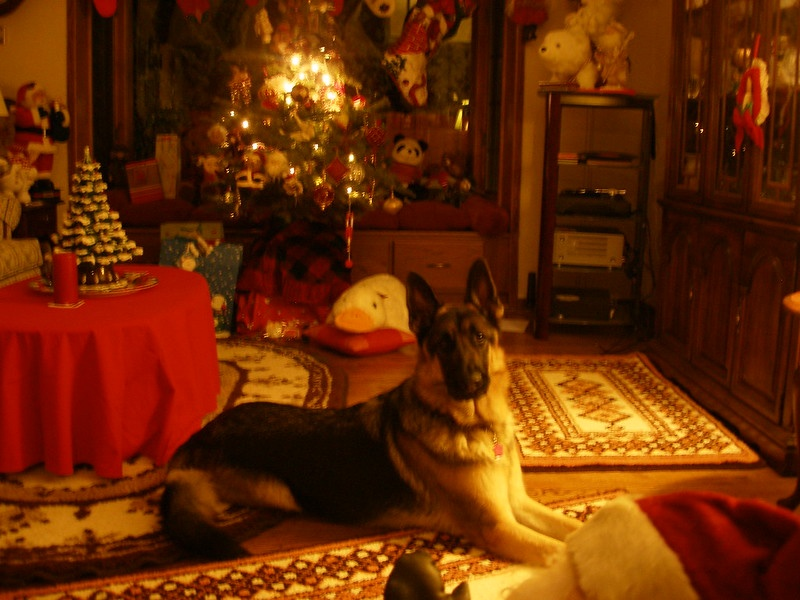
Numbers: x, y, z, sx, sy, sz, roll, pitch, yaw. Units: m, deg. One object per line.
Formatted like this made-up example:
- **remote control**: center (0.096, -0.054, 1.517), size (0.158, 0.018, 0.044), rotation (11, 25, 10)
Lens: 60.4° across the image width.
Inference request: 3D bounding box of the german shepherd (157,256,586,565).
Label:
- **german shepherd**: center (-0.164, 0.451, 2.729), size (1.030, 1.110, 1.307), rotation (4, 11, -3)
